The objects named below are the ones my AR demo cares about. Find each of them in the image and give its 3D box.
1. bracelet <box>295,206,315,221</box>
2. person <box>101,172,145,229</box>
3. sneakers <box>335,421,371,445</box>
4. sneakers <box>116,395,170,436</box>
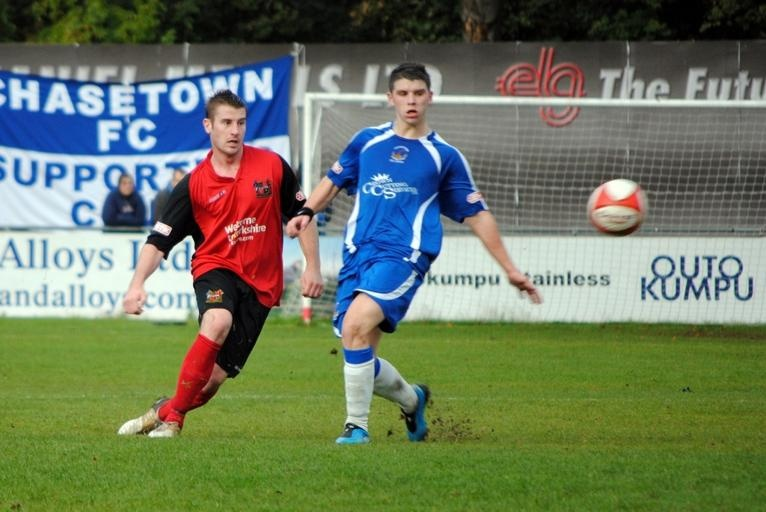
[{"bbox_3d":[-0.838,-0.467,11.399,0.182,0.135,0.099,-11,-46,5],"label":"bracelet"},{"bbox_3d":[-4.383,-0.898,18.314,0.753,1.007,0.575,2,-8,-13],"label":"person"},{"bbox_3d":[-0.300,1.859,11.193,0.409,0.190,0.144,2,-9,-20],"label":"sneakers"},{"bbox_3d":[-2.531,1.746,11.439,0.652,0.257,0.233,-13,32,-24],"label":"sneakers"}]
